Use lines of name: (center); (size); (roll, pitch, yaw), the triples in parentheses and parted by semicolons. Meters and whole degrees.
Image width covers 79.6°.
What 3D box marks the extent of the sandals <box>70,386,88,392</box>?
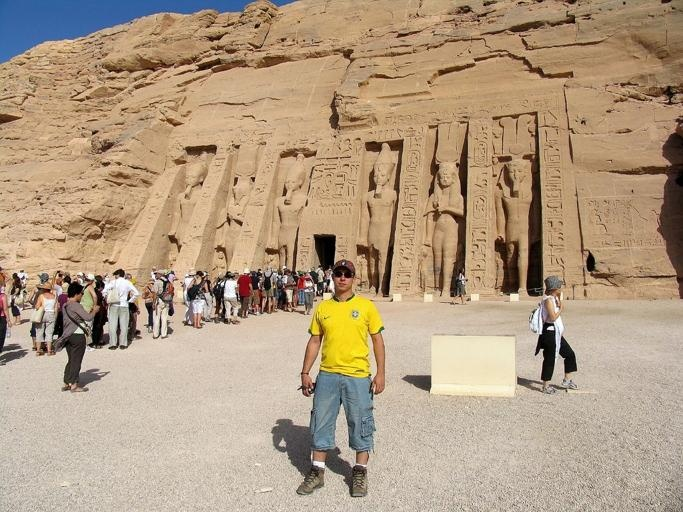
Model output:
sandals: (-3.363, 1.706, 5.272); (0.201, 0.078, 0.101); (-1, 10, -10)

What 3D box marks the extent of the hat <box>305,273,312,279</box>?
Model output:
hat: (-1.026, 0.610, 12.643); (0.137, 0.183, 0.183); (-1, -6, 1)

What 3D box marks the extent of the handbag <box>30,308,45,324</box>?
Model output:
handbag: (-5.421, 1.062, 7.287); (0.262, 0.309, 0.152); (-2, -6, 35)

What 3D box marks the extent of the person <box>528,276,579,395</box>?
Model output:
person: (2.697, 0.970, 5.218); (0.506, 1.432, 0.796); (-1, -6, 29)

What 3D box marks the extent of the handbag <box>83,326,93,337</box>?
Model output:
handbag: (-3.339, 1.006, 5.381); (0.041, 0.165, 0.144); (1, 6, 39)

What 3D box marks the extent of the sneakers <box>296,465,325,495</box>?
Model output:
sneakers: (-0.234, 1.736, 3.164); (0.109, 0.154, 0.290); (-2, -13, 30)

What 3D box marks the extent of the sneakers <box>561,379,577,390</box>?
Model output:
sneakers: (2.782, 1.568, 4.990); (0.208, 0.092, 0.081); (1, 6, -19)

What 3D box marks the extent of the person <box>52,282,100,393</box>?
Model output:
person: (-3.492, 1.050, 5.392); (0.350, 1.402, 0.453); (5, -6, -31)

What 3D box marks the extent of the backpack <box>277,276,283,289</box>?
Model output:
backpack: (-1.874, 0.810, 12.569); (0.228, 0.303, 0.135); (-8, -19, 34)

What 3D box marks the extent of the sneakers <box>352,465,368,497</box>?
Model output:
sneakers: (0.145, 1.709, 3.116); (0.134, 0.215, 0.117); (2, -5, -6)

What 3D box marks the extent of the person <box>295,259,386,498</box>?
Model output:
person: (0.012, 0.928, 3.266); (0.639, 1.796, 0.270); (1, -5, 4)
